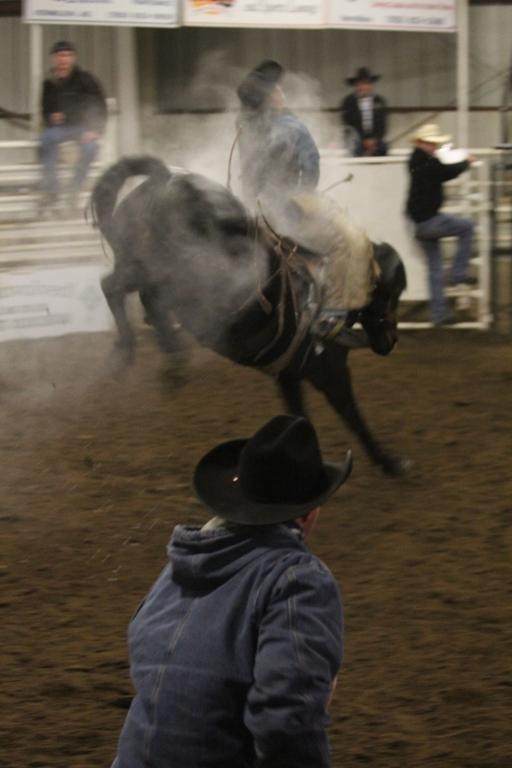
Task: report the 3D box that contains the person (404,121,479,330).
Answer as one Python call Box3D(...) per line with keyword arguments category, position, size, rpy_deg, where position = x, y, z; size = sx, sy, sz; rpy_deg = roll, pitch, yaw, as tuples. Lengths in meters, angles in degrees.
Box3D(category="person", position=(1.122, -0.952, 6.292), size=(0.400, 1.222, 0.681), rpy_deg=(-1, 10, 10))

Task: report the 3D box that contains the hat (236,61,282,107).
Box3D(category="hat", position=(0.007, -1.479, 5.027), size=(0.203, 0.283, 0.385), rpy_deg=(-3, 9, 0))

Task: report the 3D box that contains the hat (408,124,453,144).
Box3D(category="hat", position=(1.022, -1.477, 6.034), size=(0.211, 0.114, 0.283), rpy_deg=(-2, 8, 6))

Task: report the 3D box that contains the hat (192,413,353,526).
Box3D(category="hat", position=(0.030, 0.139, 1.729), size=(0.236, 0.088, 0.196), rpy_deg=(-33, 40, -31))
